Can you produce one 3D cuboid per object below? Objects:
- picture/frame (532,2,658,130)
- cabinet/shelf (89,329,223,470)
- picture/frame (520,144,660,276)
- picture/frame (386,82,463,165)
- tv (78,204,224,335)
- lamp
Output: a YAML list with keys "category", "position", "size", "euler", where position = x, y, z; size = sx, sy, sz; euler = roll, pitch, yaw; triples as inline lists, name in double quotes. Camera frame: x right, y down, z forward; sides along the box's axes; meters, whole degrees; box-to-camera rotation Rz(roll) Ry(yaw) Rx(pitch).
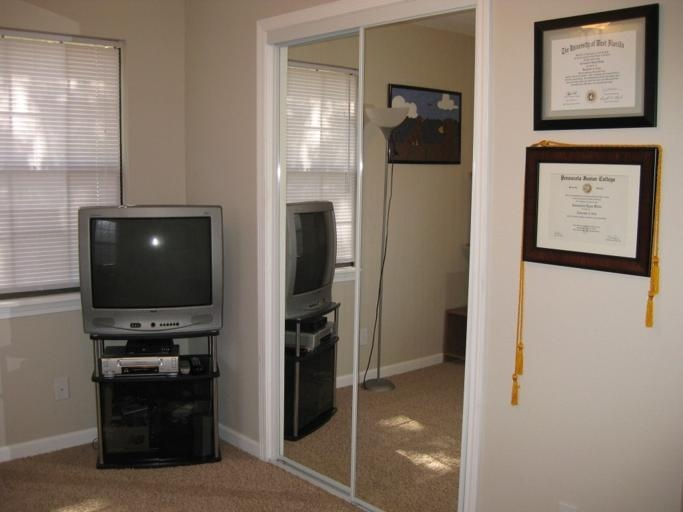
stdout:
- category: "picture/frame"
  position: [1.037, -0.770, 2.283]
  size: [0.530, 0.579, 0.040]
  euler: [2, 2, 41]
- category: "cabinet/shelf"
  position: [-1.112, 0.851, 3.935]
  size: [0.881, 1.153, 0.793]
  euler: [-1, 2, -19]
- category: "picture/frame"
  position: [1.036, -0.192, 2.323]
  size: [0.480, 0.521, 0.040]
  euler: [8, 10, 42]
- category: "picture/frame"
  position: [0.429, -0.667, 2.842]
  size: [0.388, 0.397, 0.028]
  euler: [7, 9, 34]
- category: "tv"
  position: [-1.117, 0.060, 3.848]
  size: [1.127, 1.170, 0.694]
  euler: [0, 2, -7]
- category: "lamp"
  position: [0.207, -0.015, 3.068]
  size: [0.323, 1.542, 0.149]
  euler: [9, 14, 38]
